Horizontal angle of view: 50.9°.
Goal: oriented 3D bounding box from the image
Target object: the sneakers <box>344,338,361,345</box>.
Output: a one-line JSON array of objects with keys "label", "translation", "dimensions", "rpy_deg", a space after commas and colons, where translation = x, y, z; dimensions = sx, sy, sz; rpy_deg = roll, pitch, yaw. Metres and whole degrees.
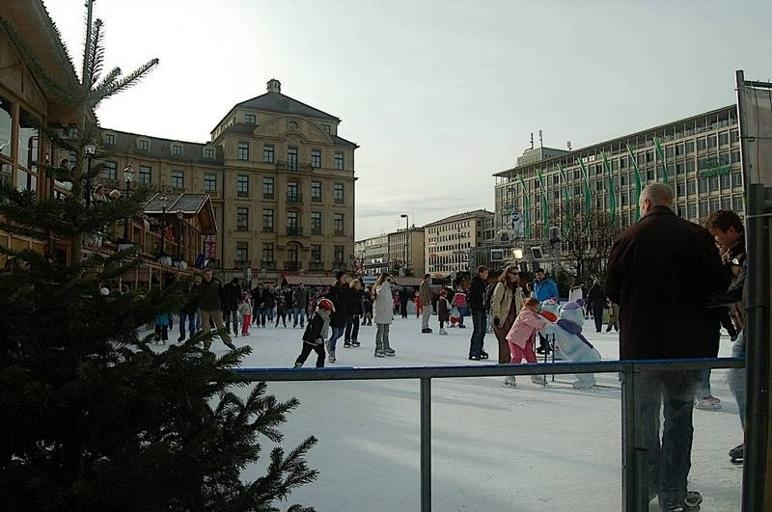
[{"label": "sneakers", "translation": [-0.793, 2.080, 19.366], "dimensions": [0.391, 0.170, 0.147], "rpy_deg": [-1, 0, 4]}]

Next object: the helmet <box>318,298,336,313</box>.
[{"label": "helmet", "translation": [-1.027, 0.799, 12.962], "dimensions": [0.304, 0.182, 0.222], "rpy_deg": [4, 5, 34]}]

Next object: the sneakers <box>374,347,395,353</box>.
[{"label": "sneakers", "translation": [-0.011, 1.992, 16.786], "dimensions": [0.398, 0.175, 0.136], "rpy_deg": [0, 0, -12]}]

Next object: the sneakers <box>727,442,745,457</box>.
[{"label": "sneakers", "translation": [2.354, 1.319, 5.428], "dimensions": [0.128, 0.044, 0.132], "rpy_deg": [-4, -47, -11]}]
